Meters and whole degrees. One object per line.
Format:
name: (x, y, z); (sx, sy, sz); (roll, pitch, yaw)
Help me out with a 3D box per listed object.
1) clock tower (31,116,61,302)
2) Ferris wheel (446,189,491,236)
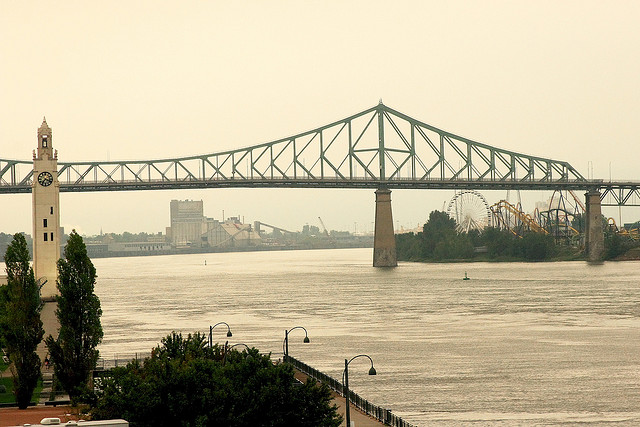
clock tower: (-29.191, -0.346, 186.914); (2.674, 18.692, 2.597); (-1, -5, -10)
Ferris wheel: (22.832, 1.356, 268.184); (9.459, 9.725, 3.390); (0, -1, -1)
